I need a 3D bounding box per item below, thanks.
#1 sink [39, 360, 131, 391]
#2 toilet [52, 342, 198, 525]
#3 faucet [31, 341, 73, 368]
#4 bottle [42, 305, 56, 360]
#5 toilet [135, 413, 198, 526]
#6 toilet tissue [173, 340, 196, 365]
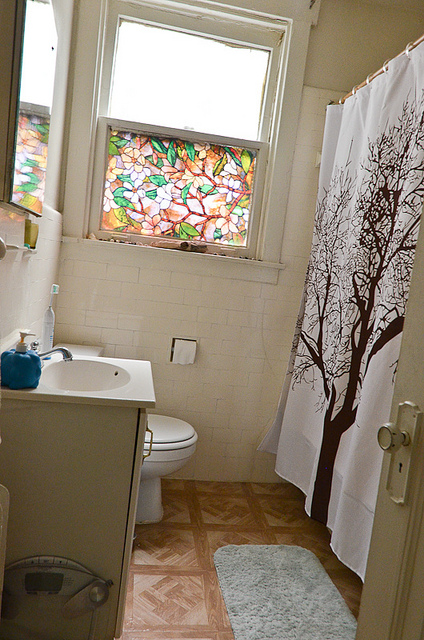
[{"bbox_3d":[-0.450,0.215,1.797,0.286,0.105,0.204,5,5,-12],"label":"sink"},{"bbox_3d":[-0.384,0.501,2.248,0.727,0.793,0.430,6,9,-31],"label":"toilet"},{"bbox_3d":[-0.474,0.106,1.575,0.161,0.094,0.067,0,25,-2],"label":"faucet"},{"bbox_3d":[-0.637,0.032,1.934,0.038,0.176,0.095,4,5,-20],"label":"bottle"},{"bbox_3d":[-0.198,0.666,2.226,0.236,0.555,0.684,6,5,-4],"label":"toilet"},{"bbox_3d":[-0.160,0.171,2.673,0.139,0.138,0.111,4,23,-7],"label":"toilet tissue"}]
